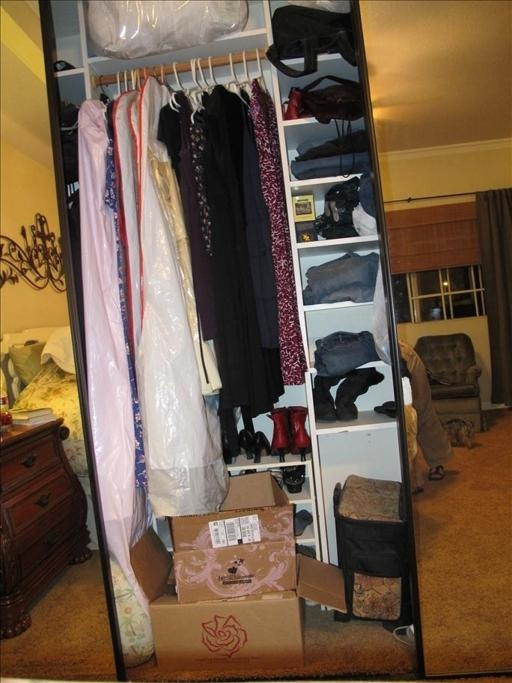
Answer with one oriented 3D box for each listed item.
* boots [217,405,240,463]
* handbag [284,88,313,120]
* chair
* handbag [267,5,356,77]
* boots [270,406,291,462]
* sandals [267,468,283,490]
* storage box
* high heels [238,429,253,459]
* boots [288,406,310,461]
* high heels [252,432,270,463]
[{"bbox_3d":[-0.085,0.293,1.792,0.072,0.088,0.212,-3,1,6],"label":"boots"},{"bbox_3d":[0.121,-0.787,1.769,0.067,0.092,0.033,13,26,28],"label":"handbag"},{"bbox_3d":[0.525,0.112,1.492,0.177,0.259,0.150,-8,0,14],"label":"chair"},{"bbox_3d":[0.167,-0.939,1.669,0.263,0.235,0.149,-6,6,16],"label":"handbag"},{"bbox_3d":[0.083,0.328,1.957,0.066,0.165,0.167,-1,3,2],"label":"boots"},{"bbox_3d":[0.072,0.501,1.990,0.036,0.049,0.121,3,21,-14],"label":"sandals"},{"bbox_3d":[-0.042,0.717,1.796,0.631,0.459,0.462,-2,0,3],"label":"storage box"},{"bbox_3d":[-0.039,0.368,1.962,0.041,0.104,0.030,-14,-14,26],"label":"high heels"},{"bbox_3d":[0.160,0.309,1.987,0.082,0.164,0.232,0,5,4],"label":"boots"},{"bbox_3d":[0.017,0.374,1.944,0.061,0.080,0.142,-7,6,0],"label":"high heels"}]
